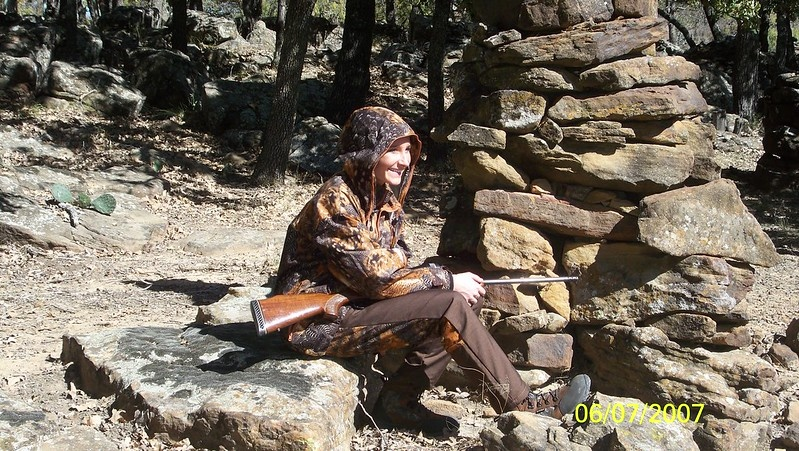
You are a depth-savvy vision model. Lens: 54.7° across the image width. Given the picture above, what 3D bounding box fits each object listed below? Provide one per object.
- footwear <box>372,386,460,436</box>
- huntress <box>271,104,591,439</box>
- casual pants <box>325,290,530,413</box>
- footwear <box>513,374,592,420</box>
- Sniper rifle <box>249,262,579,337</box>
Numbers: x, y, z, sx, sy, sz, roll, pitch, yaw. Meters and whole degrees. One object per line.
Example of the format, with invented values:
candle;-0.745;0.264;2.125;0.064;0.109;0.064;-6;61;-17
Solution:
footwear;0.226;2.330;9.690;0.963;0.517;0.217;17;-35;-3
huntress;0.374;0.709;9.726;4.190;3.784;1.880;0;4;24
casual pants;0.369;1.357;9.233;3.269;1.014;0.442;25;-4;-25
footwear;1.877;2.077;9.543;0.351;0.868;0.282;47;19;-34
Sniper rifle;0.048;0.976;9.969;3.955;0.468;0.204;-2;-5;-27
